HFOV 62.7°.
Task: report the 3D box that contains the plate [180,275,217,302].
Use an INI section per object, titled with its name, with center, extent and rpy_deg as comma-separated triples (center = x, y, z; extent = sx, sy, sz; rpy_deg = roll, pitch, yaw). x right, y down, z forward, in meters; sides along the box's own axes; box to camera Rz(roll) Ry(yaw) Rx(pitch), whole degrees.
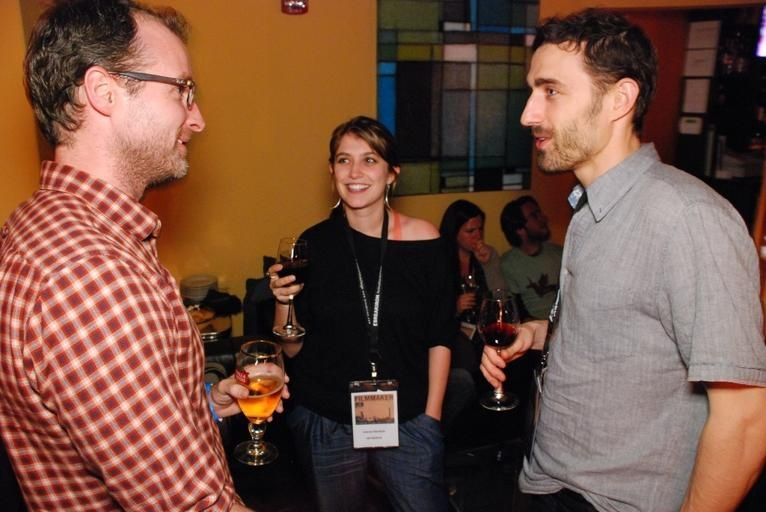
[plate]
center = -1.326, 0.212, 4.521
extent = 0.199, 0.111, 0.194
rpy_deg = -3, 13, -27
